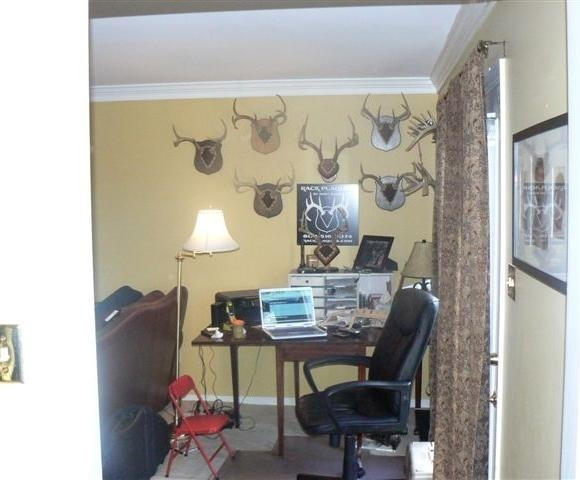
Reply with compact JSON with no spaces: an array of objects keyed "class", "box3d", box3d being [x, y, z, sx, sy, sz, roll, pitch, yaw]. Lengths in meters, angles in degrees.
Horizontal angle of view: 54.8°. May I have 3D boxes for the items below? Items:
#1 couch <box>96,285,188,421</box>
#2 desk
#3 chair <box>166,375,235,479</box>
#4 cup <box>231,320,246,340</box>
[{"class":"couch","box3d":[-1.066,0.839,4.100,0.671,1.020,0.683,-1,-4,2]},{"class":"desk","box3d":[0.007,1.259,4.169,1.599,0.942,0.837,0,-1,0]},{"class":"chair","box3d":[-0.647,1.217,4.075,0.462,0.630,1.175,-1,5,-8]},{"class":"cup","box3d":[-0.359,0.647,4.010,0.070,0.129,0.124,0,-8,0]}]
